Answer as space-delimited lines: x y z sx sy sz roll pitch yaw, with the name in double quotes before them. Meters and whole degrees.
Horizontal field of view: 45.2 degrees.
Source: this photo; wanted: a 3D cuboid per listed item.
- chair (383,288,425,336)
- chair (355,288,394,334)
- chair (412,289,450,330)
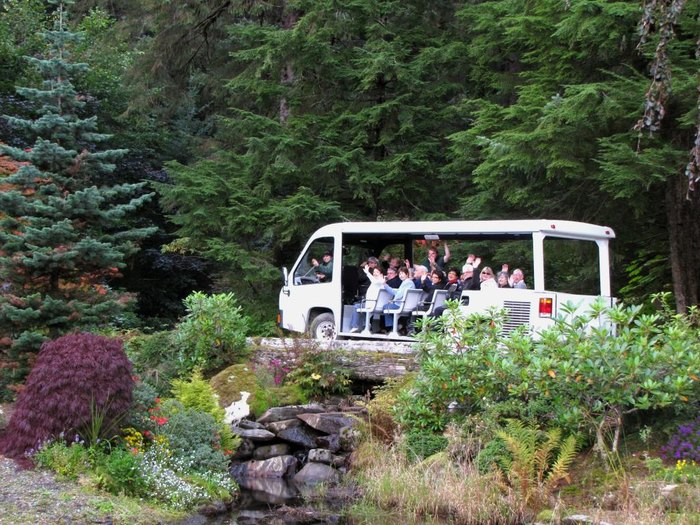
"chair" 1.058 0.913 17.091 0.896 1.251 0.966 1 -4 5
"chair" 0.454 0.905 17.442 0.889 1.288 0.864 2 -1 4
"chair" 1.520 0.825 16.497 0.786 0.930 0.726 0 1 21
